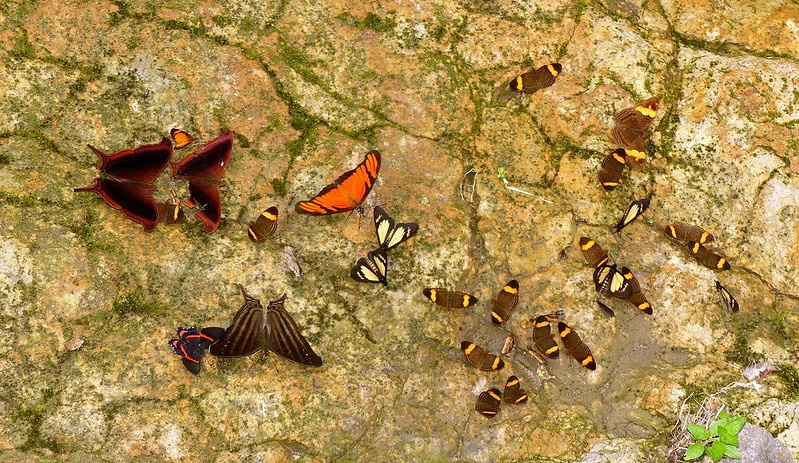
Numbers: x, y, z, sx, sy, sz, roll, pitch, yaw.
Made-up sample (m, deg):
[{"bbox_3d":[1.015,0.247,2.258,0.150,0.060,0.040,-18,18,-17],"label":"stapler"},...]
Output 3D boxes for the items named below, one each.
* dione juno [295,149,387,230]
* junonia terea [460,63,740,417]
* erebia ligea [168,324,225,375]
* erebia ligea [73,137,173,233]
[{"bbox_3d":[-1.506,-1.332,23.888,1.991,1.563,0.251,-3,-5,3],"label":"dione juno"},{"bbox_3d":[5.012,0.138,24.590,6.380,9.918,0.414,-3,-5,0],"label":"junonia terea"},{"bbox_3d":[-5.278,2.936,23.382,1.267,1.192,0.444,27,-7,-1],"label":"erebia ligea"},{"bbox_3d":[-7.016,-1.261,23.773,1.951,2.420,0.382,-1,-5,-19],"label":"erebia ligea"}]
